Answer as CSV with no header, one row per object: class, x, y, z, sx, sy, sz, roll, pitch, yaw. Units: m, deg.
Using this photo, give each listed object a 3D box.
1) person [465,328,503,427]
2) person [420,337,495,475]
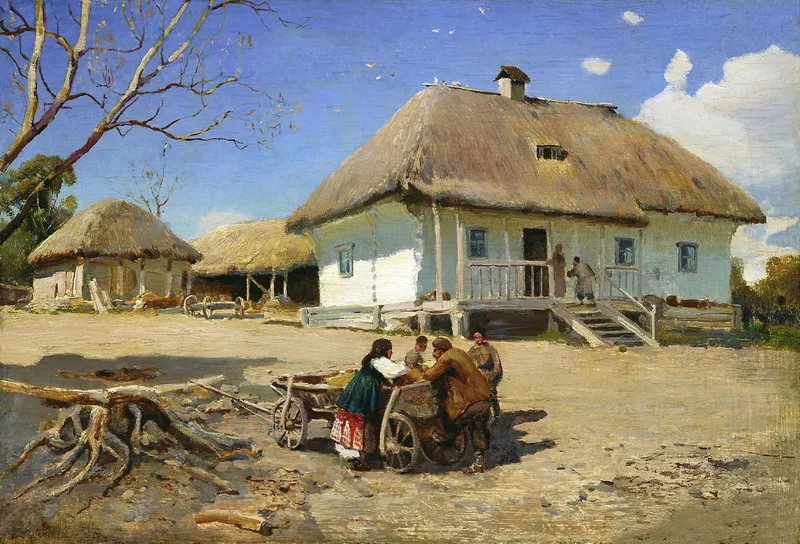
person,1.546,1.919,15.365,0.840,1.596,0.696,-3,8,8
person,1.032,2.341,13.593,1.094,2.213,0.595,0,14,5
